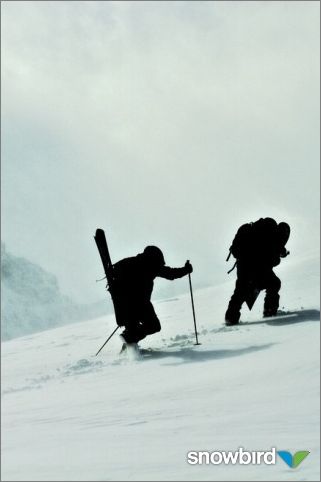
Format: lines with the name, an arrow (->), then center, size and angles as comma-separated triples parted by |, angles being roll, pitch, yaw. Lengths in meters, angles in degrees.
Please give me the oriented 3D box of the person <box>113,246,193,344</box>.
person -> -0.329, 0.697, 9.227 | 0.682, 1.164, 1.346 | -1, 9, 39
